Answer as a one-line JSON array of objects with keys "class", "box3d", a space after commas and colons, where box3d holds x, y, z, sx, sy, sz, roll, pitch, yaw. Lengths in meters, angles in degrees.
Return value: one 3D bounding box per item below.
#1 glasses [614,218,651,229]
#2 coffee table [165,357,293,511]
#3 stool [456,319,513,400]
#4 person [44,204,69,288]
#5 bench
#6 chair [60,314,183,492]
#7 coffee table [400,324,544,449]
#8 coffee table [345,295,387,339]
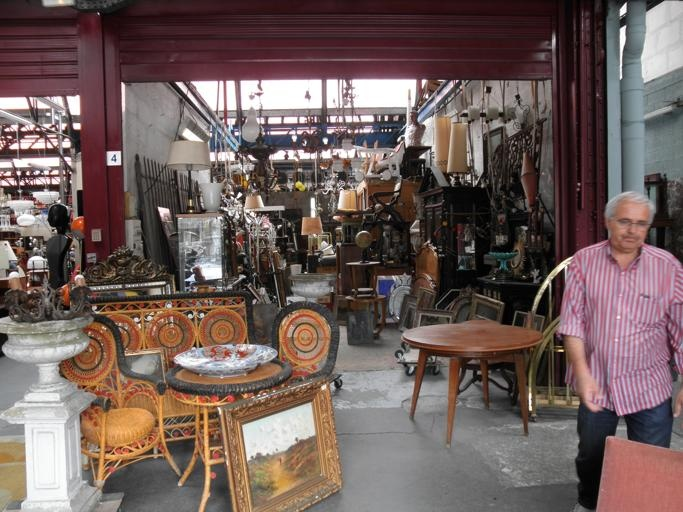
[{"class": "glasses", "box3d": [1.718, -0.183, 3.124, 0.198, 0.048, 0.074, -1, 7, -8]}, {"class": "coffee table", "box3d": [-0.909, 1.099, 3.723, 0.945, 0.994, 0.903, 0, -1, -36]}, {"class": "stool", "box3d": [1.384, 0.990, 5.354, 0.585, 0.741, 0.596, 2, 6, 39]}, {"class": "person", "box3d": [-3.639, -0.133, 6.884, 0.307, 1.052, 0.960, -4, 8, -28]}, {"class": "bench", "box3d": [-1.243, 0.894, 3.831, 1.257, 1.254, 0.512, -1, -1, -18]}, {"class": "chair", "box3d": [-1.529, 1.009, 3.704, 0.659, 1.060, 0.730, -4, 5, -39]}, {"class": "coffee table", "box3d": [1.091, 1.007, 4.532, 0.965, 0.736, 0.955, -2, 6, -7]}, {"class": "coffee table", "box3d": [0.335, 0.948, 7.855, 0.604, 0.684, 0.618, -1, 3, 1]}]
